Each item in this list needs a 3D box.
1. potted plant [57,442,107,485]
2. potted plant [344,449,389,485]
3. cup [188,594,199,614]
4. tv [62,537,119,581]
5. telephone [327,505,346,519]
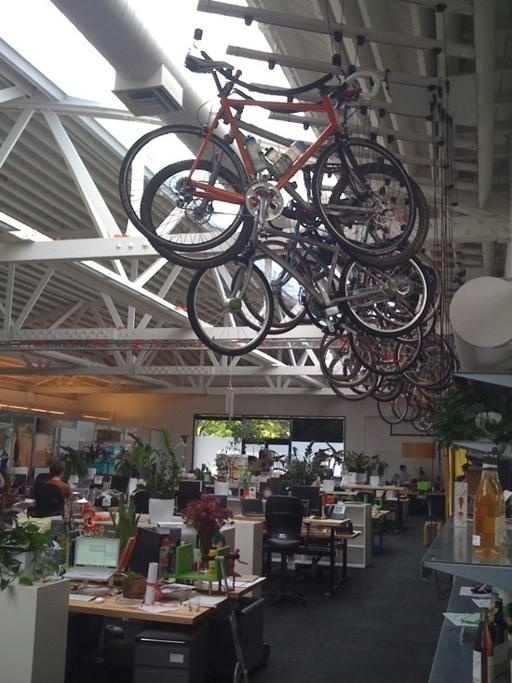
[{"bbox_3d":[-3.017,2.083,9.501,0.795,0.595,1.103,1,-9,-1],"label":"potted plant"},{"bbox_3d":[3.041,3.612,15.967,1.350,1.010,1.568,0,-4,16],"label":"potted plant"},{"bbox_3d":[-0.363,1.515,3.227,0.078,0.081,0.077,1,3,0],"label":"cup"},{"bbox_3d":[-1.032,1.366,3.643,0.385,0.284,0.256,3,-6,11],"label":"tv"},{"bbox_3d":[1.146,2.405,7.945,0.226,0.180,0.219,-5,-11,26],"label":"telephone"}]
